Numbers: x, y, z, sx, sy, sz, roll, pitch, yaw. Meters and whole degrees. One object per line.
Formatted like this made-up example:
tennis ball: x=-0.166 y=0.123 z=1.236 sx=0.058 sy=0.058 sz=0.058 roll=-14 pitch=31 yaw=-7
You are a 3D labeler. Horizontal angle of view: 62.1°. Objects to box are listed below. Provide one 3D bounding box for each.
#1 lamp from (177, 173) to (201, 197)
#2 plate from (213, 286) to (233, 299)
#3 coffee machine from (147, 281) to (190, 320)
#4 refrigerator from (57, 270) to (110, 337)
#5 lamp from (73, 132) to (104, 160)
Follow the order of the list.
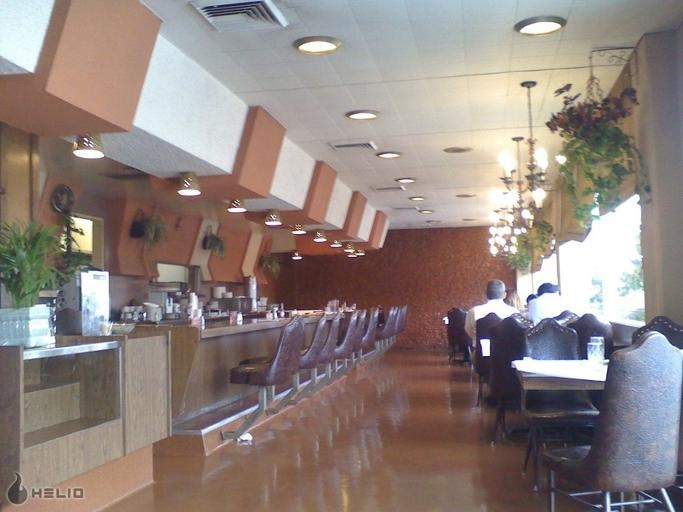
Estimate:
lamp: x=-1.760 y=-0.825 z=6.571 sx=0.254 sy=0.201 sz=0.247 roll=0 pitch=-7 yaw=3
plate: x=-2.305 y=0.701 z=10.952 sx=0.241 sy=0.210 sz=0.310 roll=-3 pitch=-10 yaw=17
coffee machine: x=-2.652 y=0.727 z=8.475 sx=0.415 sy=0.661 sz=0.747 roll=-12 pitch=-7 yaw=9
refrigerator: x=-1.928 y=0.360 z=4.197 sx=0.390 sy=0.485 sz=0.374 roll=-1 pitch=-4 yaw=-12
lamp: x=-2.190 y=-0.920 z=4.881 sx=0.242 sy=0.209 sz=0.240 roll=-1 pitch=-3 yaw=22
